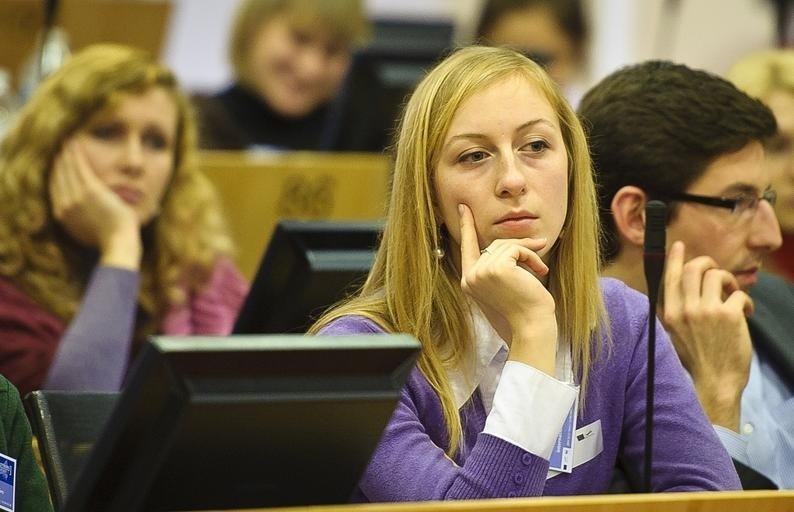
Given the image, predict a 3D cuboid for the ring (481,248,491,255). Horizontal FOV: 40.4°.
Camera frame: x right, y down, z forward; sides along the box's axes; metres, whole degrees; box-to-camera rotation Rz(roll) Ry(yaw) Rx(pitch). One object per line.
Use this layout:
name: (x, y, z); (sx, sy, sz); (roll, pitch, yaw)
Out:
ring: (0.272, -0.012, 3.334); (0.017, 0.008, 0.022); (-16, 7, 36)

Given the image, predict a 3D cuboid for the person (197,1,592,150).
person: (0.013, -0.642, 4.093); (1.320, 0.645, 0.901); (-1, 11, -14)

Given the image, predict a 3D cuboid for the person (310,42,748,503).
person: (0.355, 0.284, 3.593); (1.308, 1.760, 1.044); (1, -6, -29)

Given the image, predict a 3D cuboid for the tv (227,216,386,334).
tv: (-0.271, 0.074, 3.349); (0.395, 0.374, 0.124); (12, 21, -46)
